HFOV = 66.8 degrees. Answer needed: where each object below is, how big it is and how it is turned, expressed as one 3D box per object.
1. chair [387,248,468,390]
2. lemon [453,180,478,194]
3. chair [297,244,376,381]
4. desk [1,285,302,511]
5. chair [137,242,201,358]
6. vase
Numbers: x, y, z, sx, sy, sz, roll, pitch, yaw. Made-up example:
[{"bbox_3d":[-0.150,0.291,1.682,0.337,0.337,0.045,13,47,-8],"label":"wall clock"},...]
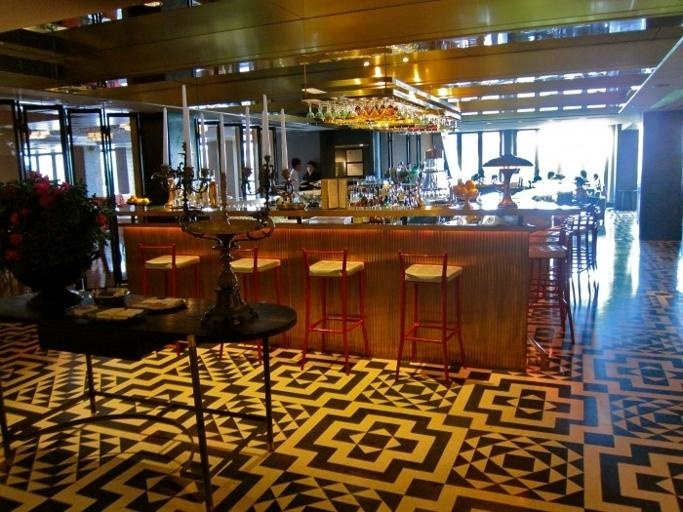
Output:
[{"bbox_3d":[0.919,0.560,5.384,0.741,1.306,0.861,3,13,19],"label":"chair"},{"bbox_3d":[1.459,-0.804,6.000,0.250,0.087,0.230,-9,2,-1],"label":"lemon"},{"bbox_3d":[-0.048,0.508,5.769,0.591,1.103,0.535,-4,-1,12],"label":"chair"},{"bbox_3d":[-1.464,1.003,4.009,2.134,1.301,1.193,5,14,28],"label":"desk"},{"bbox_3d":[-2.094,0.470,6.408,0.745,1.243,0.719,-3,3,-33],"label":"chair"},{"bbox_3d":[-2.360,0.266,4.164,0.439,0.266,0.396,3,8,7],"label":"vase"}]
